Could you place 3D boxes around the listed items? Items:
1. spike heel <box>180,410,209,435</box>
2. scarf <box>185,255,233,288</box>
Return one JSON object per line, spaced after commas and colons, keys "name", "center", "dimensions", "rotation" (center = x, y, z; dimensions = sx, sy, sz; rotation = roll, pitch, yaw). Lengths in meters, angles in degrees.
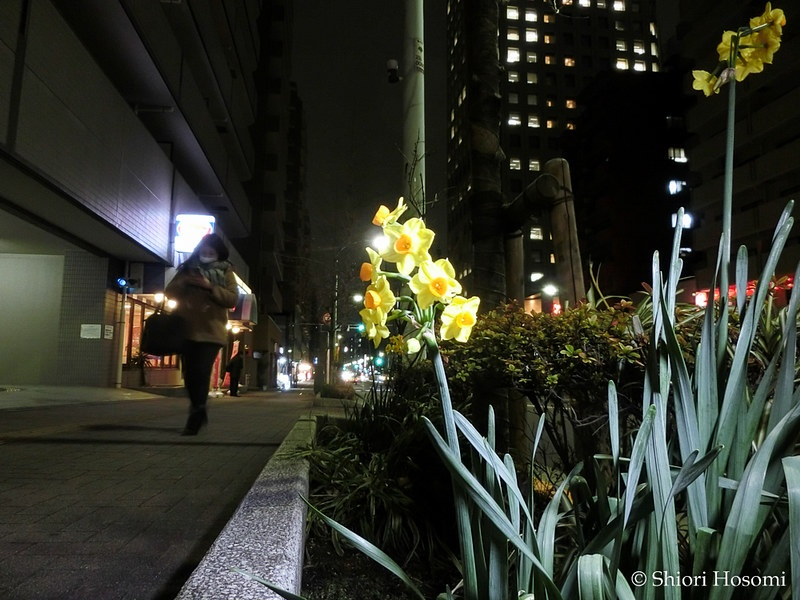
{"name": "spike heel", "center": [-2.173, 1.273, 6.355], "dimensions": [0.196, 0.250, 0.306], "rotation": [7, -11, -39]}
{"name": "scarf", "center": [-2.105, -0.331, 6.517], "dimensions": [0.321, 0.154, 0.344], "rotation": [9, 13, 2]}
